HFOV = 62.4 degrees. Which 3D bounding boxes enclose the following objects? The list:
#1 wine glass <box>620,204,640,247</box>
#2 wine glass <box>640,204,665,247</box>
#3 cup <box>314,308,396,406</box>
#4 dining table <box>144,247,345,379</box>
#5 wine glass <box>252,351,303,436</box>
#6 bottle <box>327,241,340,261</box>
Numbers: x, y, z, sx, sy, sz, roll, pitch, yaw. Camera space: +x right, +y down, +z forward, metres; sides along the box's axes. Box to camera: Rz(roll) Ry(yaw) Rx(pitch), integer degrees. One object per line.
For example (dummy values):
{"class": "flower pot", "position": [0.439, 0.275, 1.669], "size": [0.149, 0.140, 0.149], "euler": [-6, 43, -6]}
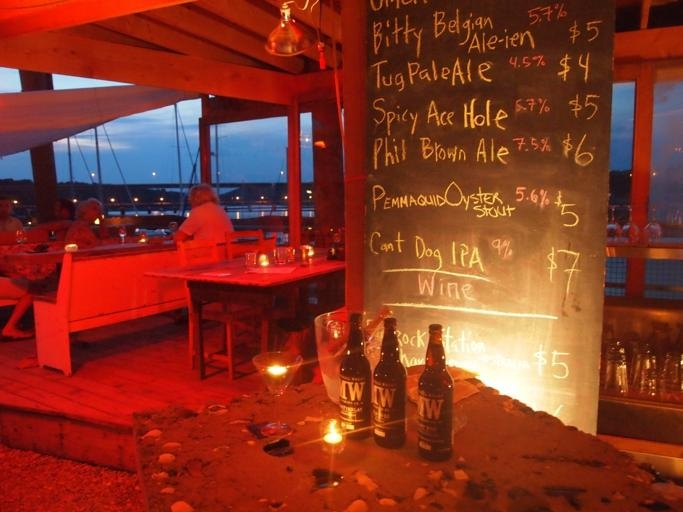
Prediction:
{"class": "wine glass", "position": [1.783, -0.196, 3.457], "size": [0.104, 0.207, 0.161], "euler": [6, 10, 32]}
{"class": "wine glass", "position": [1.890, -0.184, 3.408], "size": [0.120, 0.214, 0.220], "euler": [5, 10, 28]}
{"class": "cup", "position": [-0.033, 0.410, 2.463], "size": [0.385, 0.424, 0.386], "euler": [0, -3, 0]}
{"class": "dining table", "position": [-0.878, 0.609, 4.538], "size": [1.323, 0.654, 0.749], "euler": [7, -14, 26]}
{"class": "wine glass", "position": [-0.277, 0.600, 2.408], "size": [0.251, 0.305, 0.237], "euler": [14, -27, -41]}
{"class": "bottle", "position": [-0.047, -0.037, 5.189], "size": [0.144, 0.196, 0.145], "euler": [1, 5, 0]}
